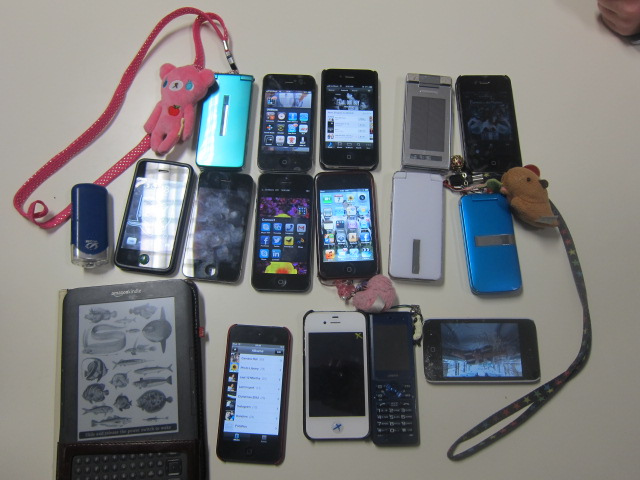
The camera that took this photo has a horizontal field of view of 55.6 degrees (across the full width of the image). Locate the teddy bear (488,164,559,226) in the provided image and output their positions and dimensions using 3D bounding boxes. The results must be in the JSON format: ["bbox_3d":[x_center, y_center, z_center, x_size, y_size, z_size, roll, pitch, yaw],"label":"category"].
[{"bbox_3d":[0.647,-0.141,1.894,0.159,0.083,0.209,-17,74,-1],"label":"teddy bear"}]

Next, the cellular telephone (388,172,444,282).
[{"bbox_3d":[0.303,-0.049,1.862,0.157,0.041,0.338,2,80,0],"label":"cellular telephone"}]

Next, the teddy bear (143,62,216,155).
[{"bbox_3d":[-0.478,-0.424,1.974,0.203,0.070,0.305,8,66,10],"label":"teddy bear"}]
